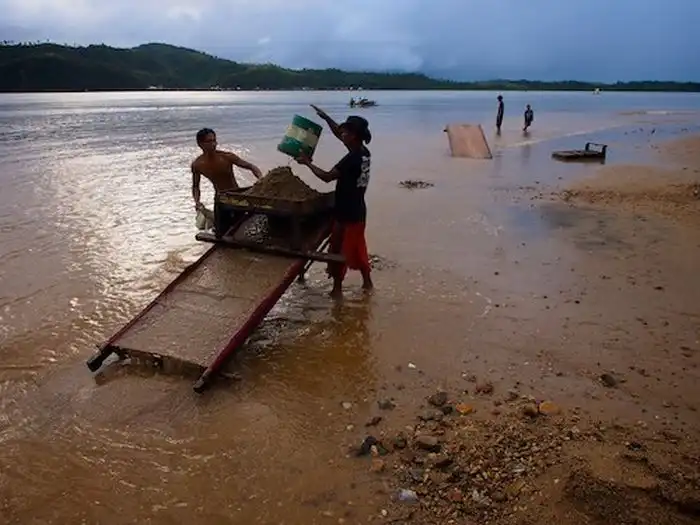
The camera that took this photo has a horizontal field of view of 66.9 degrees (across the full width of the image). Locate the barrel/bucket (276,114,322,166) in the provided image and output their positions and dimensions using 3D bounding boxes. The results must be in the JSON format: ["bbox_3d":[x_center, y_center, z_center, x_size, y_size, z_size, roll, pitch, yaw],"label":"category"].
[{"bbox_3d":[-0.707,-2.017,8.538,0.603,0.565,0.610,20,17,-6],"label":"barrel/bucket"}]

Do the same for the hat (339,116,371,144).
[{"bbox_3d":[0.128,-1.971,7.936,0.344,0.468,0.620,12,28,32],"label":"hat"}]

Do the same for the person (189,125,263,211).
[{"bbox_3d":[-2.292,-1.697,9.136,1.157,1.247,1.183,1,24,13],"label":"person"}]

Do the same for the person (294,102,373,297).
[{"bbox_3d":[-0.078,-0.791,8.231,0.935,2.876,1.505,-4,25,4],"label":"person"}]
